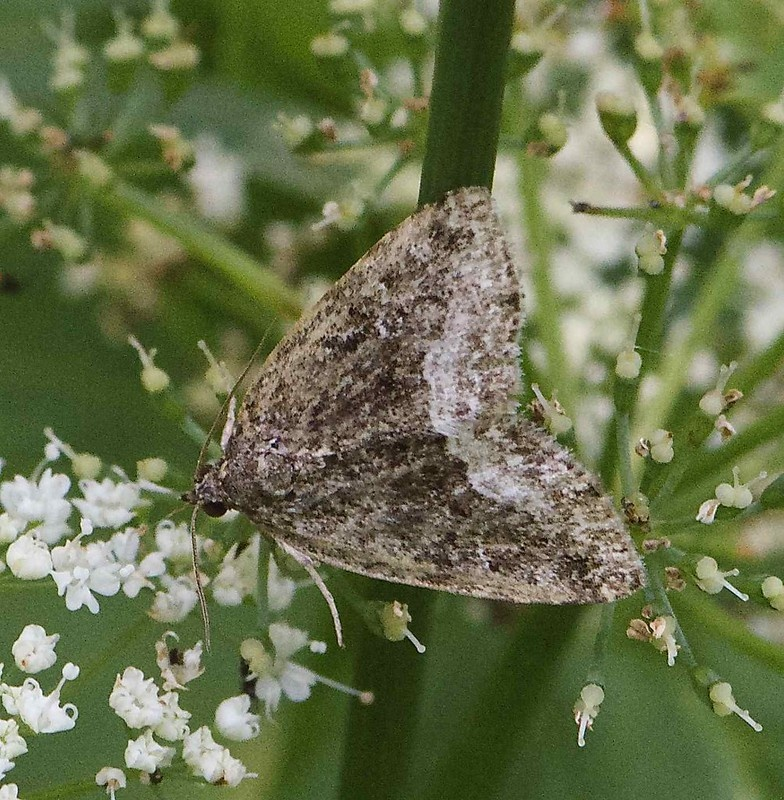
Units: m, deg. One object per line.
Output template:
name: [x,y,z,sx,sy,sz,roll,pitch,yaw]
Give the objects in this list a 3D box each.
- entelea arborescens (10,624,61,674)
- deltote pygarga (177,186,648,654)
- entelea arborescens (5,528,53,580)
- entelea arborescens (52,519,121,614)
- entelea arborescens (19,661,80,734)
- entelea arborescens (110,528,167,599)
entelea arborescens: [-0.649,0.433,2.114,0.110,0.116,0.030,-27,83,-16]
deltote pygarga: [0.016,0.060,1.975,0.766,0.206,0.734,-18,95,10]
entelea arborescens: [-0.642,0.280,2.078,0.077,0.029,0.082,-30,78,-5]
entelea arborescens: [-0.547,0.300,2.084,0.107,0.045,0.153,-30,78,-5]
entelea arborescens: [-0.604,0.527,2.077,0.098,0.032,0.120,1,77,2]
entelea arborescens: [-0.454,0.291,2.091,0.085,0.067,0.122,-2,91,-21]
